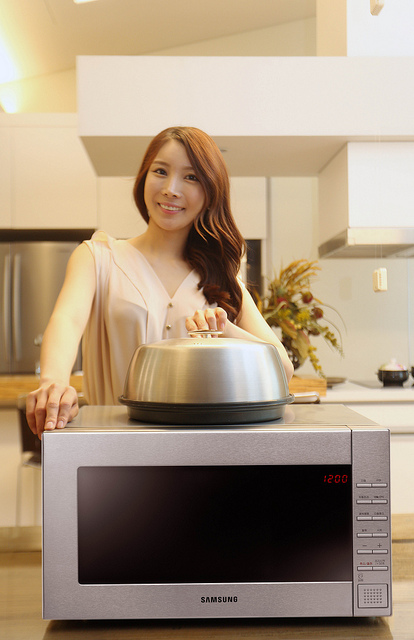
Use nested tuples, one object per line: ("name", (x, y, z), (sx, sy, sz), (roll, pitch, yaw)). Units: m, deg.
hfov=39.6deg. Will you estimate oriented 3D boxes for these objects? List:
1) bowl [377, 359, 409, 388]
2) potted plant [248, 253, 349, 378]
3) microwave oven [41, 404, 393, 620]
("bowl", (0.826, 0.239, 2.544), (0.131, 0.107, 0.113), (0, -5, 9))
("potted plant", (0.453, 0.000, 2.540), (0.432, 0.417, 0.299), (25, 1, -35))
("microwave oven", (0.010, 0.194, 0.685), (0.317, 0.170, 0.319), (0, -3, 0))
